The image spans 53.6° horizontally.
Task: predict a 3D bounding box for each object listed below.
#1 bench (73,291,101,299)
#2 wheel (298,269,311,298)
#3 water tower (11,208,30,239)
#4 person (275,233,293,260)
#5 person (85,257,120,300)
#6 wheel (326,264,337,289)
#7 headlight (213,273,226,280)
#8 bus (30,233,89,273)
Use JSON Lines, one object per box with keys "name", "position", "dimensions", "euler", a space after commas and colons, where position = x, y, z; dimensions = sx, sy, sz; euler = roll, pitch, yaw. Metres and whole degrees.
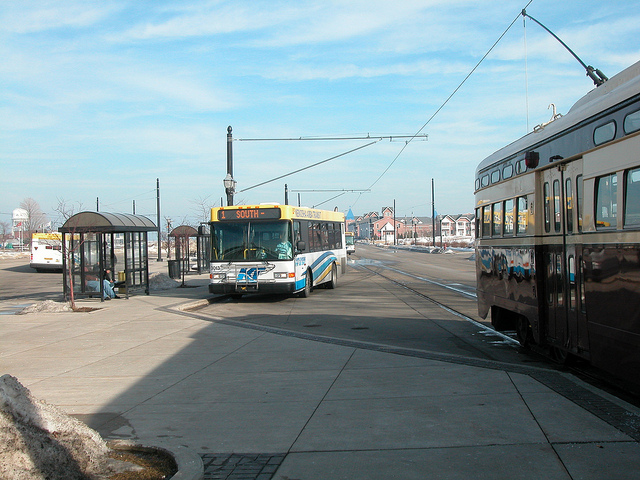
{"name": "bench", "position": [-8.178, 1.926, 21.985], "dimensions": [0.764, 0.316, 1.177], "euler": [-3, 2, -34]}
{"name": "wheel", "position": [-0.582, 1.499, 22.128], "dimensions": [0.335, 0.918, 0.977], "euler": [1, -14, 6]}
{"name": "water tower", "position": [-55.979, -3.357, 117.921], "dimensions": [2.454, 4.664, 34.598], "euler": [-3, 2, -26]}
{"name": "person", "position": [-1.121, 0.208, 20.763], "dimensions": [0.394, 0.675, 0.609], "euler": [-2, -1, 13]}
{"name": "person", "position": [-7.683, 1.349, 22.078], "dimensions": [0.487, 1.555, 1.214], "euler": [0, 3, 29]}
{"name": "wheel", "position": [0.431, 1.527, 26.405], "dimensions": [0.324, 0.975, 1.046], "euler": [-1, -8, 12]}
{"name": "headlight", "position": [-3.309, 1.197, 20.902], "dimensions": [0.275, 0.146, 0.257], "euler": [1, 3, 6]}
{"name": "bus", "position": [-18.516, 0.661, 44.583], "dimensions": [2.282, 2.583, 6.575], "euler": [0, 3, -12]}
